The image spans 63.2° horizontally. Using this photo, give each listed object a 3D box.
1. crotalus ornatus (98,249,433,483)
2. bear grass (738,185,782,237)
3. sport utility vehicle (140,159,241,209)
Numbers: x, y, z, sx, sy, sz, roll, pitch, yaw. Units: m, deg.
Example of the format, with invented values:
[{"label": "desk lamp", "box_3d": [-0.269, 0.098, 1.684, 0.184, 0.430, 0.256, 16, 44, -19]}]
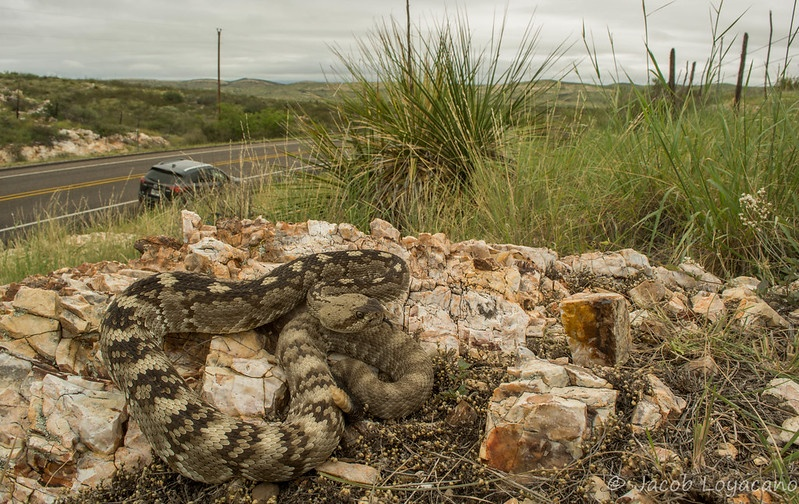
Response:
[{"label": "crotalus ornatus", "box_3d": [-1.563, 1.362, 8.061, 3.814, 1.959, 2.207, -7, 18, -20]}, {"label": "bear grass", "box_3d": [4.699, -0.550, 8.533, 0.517, 0.639, 0.553, 3, 17, 13]}, {"label": "sport utility vehicle", "box_3d": [-5.797, -1.766, 17.125, 1.656, 1.277, 4.150, -10, 19, -27]}]
